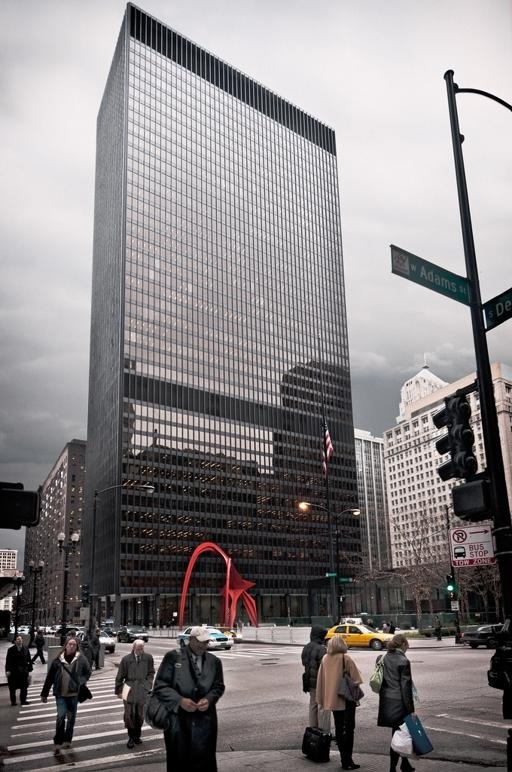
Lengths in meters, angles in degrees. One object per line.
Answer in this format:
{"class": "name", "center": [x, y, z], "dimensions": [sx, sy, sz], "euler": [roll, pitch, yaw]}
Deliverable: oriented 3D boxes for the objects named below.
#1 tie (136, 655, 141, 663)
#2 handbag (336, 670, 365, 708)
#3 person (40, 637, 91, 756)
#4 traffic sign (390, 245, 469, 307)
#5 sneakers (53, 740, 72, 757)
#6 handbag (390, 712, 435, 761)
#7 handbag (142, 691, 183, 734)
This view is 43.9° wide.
{"class": "tie", "center": [-1.999, 4.640, 10.753], "dimensions": [0.063, 0.094, 0.023], "euler": [17, -39, -20]}
{"class": "handbag", "center": [1.191, 3.870, 8.076], "dimensions": [0.318, 0.427, 0.286], "euler": [-1, -14, -7]}
{"class": "person", "center": [-3.011, 4.905, 10.114], "dimensions": [0.714, 1.558, 1.155], "euler": [1, -14, -15]}
{"class": "traffic sign", "center": [1.845, -1.198, 6.800], "dimensions": [1.181, 0.508, 0.307], "euler": [6, -16, -33]}
{"class": "sneakers", "center": [-2.915, 5.482, 9.600], "dimensions": [0.164, 0.241, 0.539], "euler": [12, -44, -28]}
{"class": "handbag", "center": [1.658, 3.822, 6.865], "dimensions": [0.411, 0.455, 0.319], "euler": [-6, -14, 10]}
{"class": "handbag", "center": [-0.749, 2.481, 4.911], "dimensions": [0.214, 0.440, 0.284], "euler": [7, -17, -29]}
